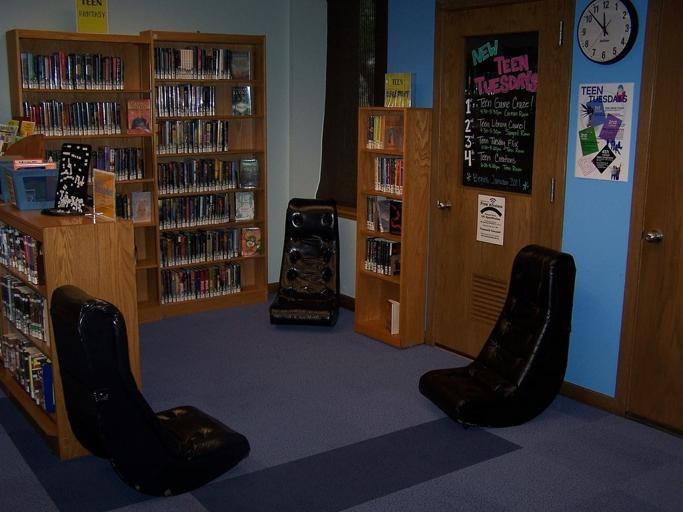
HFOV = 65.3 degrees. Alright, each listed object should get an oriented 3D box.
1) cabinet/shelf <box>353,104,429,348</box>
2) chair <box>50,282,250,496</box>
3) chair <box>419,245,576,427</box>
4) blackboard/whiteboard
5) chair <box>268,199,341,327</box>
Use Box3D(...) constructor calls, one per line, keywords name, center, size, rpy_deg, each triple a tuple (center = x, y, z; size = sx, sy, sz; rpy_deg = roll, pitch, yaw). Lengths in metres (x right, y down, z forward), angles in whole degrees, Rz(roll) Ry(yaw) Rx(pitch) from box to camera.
Box3D(name="cabinet/shelf", center=(0.508, -0.306, 5.444), size=(0.438, 2.338, 0.796), rpy_deg=(-13, 18, -43))
Box3D(name="chair", center=(-1.286, 0.940, 3.633), size=(1.230, 1.613, 0.867), rpy_deg=(-8, 13, -37))
Box3D(name="chair", center=(1.257, 0.557, 4.674), size=(1.430, 1.751, 0.923), rpy_deg=(-3, 9, -21))
Box3D(name="blackboard/whiteboard", center=(1.367, -1.259, 4.696), size=(0.162, 1.324, 0.779), rpy_deg=(-8, 16, -30))
Box3D(name="chair", center=(-0.395, 0.039, 5.950), size=(0.717, 1.240, 0.801), rpy_deg=(1, 14, 2))
